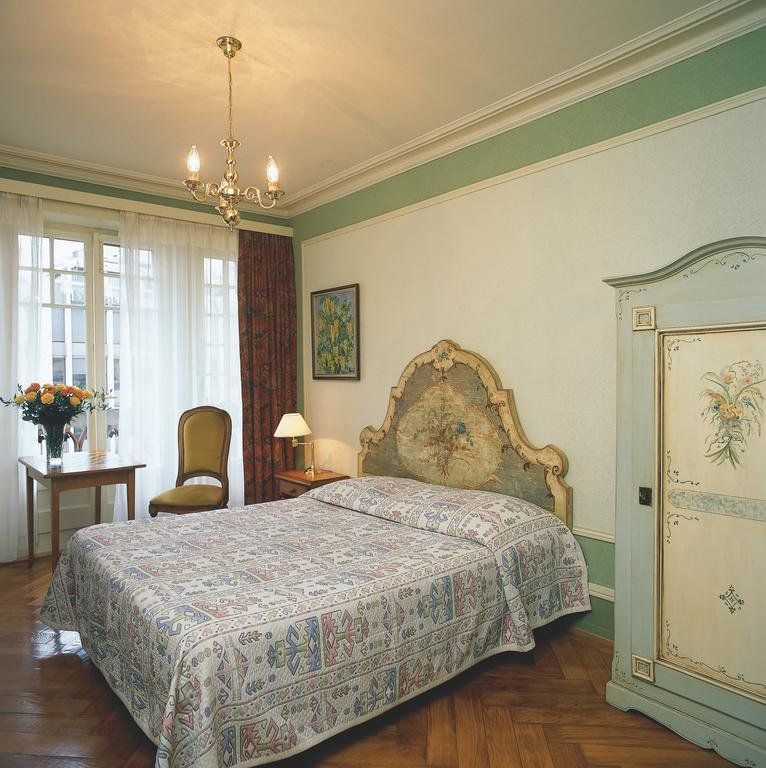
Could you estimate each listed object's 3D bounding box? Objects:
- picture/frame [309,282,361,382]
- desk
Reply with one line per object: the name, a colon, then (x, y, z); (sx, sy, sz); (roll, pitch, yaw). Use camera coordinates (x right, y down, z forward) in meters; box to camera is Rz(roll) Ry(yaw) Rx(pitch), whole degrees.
picture/frame: (-0.359, -0.416, 5.011); (0.030, 0.925, 0.677); (-3, 3, -33)
desk: (-2.026, 0.741, 4.197); (0.638, 0.978, 0.793); (-3, 8, -43)
